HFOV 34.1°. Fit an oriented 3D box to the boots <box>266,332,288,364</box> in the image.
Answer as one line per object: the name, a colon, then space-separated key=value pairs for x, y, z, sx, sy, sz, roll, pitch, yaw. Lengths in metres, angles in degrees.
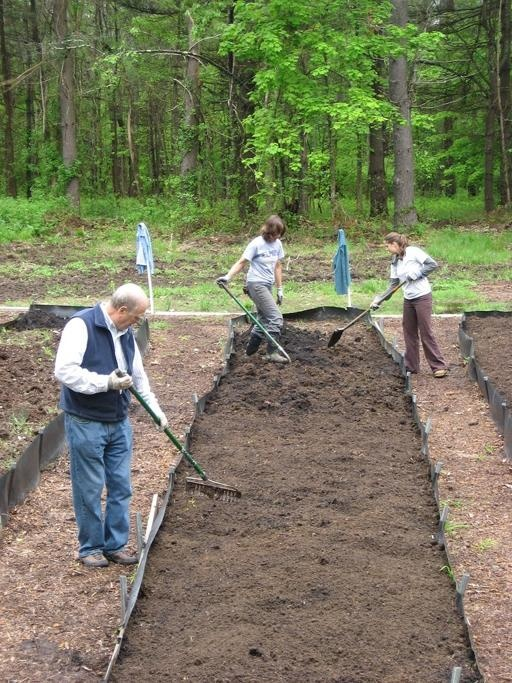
boots: x=0.235 y=0.104 z=9.737 sx=0.407 sy=0.369 sz=0.209 roll=0 pitch=22 yaw=0

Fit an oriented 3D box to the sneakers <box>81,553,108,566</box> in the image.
sneakers: x=-1.074 y=1.465 z=5.578 sx=0.169 sy=0.055 sz=0.082 roll=-2 pitch=13 yaw=-14

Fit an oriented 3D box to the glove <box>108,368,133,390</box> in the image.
glove: x=-0.836 y=0.244 z=5.154 sx=0.133 sy=0.143 sz=0.152 roll=-3 pitch=9 yaw=-4

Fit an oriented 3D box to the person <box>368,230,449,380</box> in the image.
person: x=1.728 y=-0.382 z=9.283 sx=0.783 sy=1.641 sz=0.779 roll=-3 pitch=9 yaw=-3

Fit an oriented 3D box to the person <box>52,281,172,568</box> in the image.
person: x=-0.922 y=0.580 z=5.467 sx=0.633 sy=1.921 sz=0.695 roll=-4 pitch=10 yaw=-6

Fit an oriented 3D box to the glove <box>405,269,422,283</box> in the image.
glove: x=1.684 y=-0.701 z=8.954 sx=0.142 sy=0.098 sz=0.098 roll=4 pitch=-2 yaw=-7

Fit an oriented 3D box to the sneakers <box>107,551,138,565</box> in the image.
sneakers: x=-0.895 y=1.478 z=5.704 sx=0.253 sy=0.092 sz=0.083 roll=3 pitch=2 yaw=5

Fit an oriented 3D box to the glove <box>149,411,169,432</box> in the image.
glove: x=-0.632 y=0.552 z=5.625 sx=0.056 sy=0.138 sz=0.104 roll=-47 pitch=9 yaw=-3

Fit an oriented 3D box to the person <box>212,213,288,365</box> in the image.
person: x=0.028 y=-0.632 z=9.912 sx=0.660 sy=1.691 sz=1.504 roll=-2 pitch=9 yaw=1
